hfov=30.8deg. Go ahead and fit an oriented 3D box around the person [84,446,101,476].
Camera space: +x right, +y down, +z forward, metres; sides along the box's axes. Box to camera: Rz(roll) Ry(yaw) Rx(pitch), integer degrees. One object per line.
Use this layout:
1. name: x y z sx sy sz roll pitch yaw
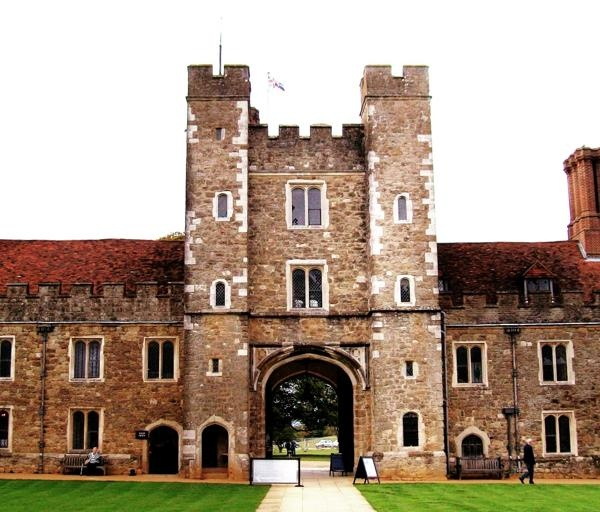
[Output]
1. person: -7.002 6.966 37.032 0.534 0.902 0.566 5 -17 -20
